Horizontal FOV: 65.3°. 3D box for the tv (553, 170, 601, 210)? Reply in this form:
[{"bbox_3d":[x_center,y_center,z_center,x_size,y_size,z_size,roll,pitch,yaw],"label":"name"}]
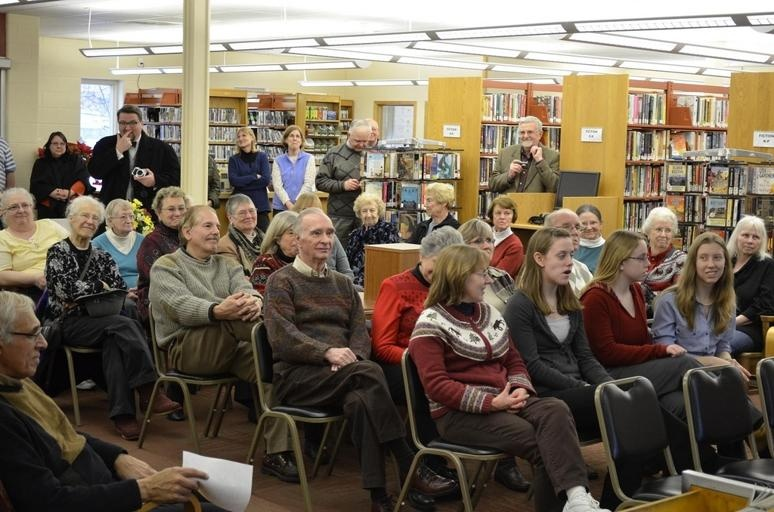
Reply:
[{"bbox_3d":[2.708,-1.006,8.570,0.710,0.698,0.546,3,0,-2],"label":"tv"}]

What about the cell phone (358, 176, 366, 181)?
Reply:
[{"bbox_3d":[-0.333,-1.049,8.162,0.080,0.078,0.018,-1,2,-38],"label":"cell phone"}]

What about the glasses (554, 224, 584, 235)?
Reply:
[{"bbox_3d":[1.421,-0.212,4.755,0.174,0.055,0.173,7,-6,-43],"label":"glasses"}]

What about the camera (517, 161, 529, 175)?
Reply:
[{"bbox_3d":[1.870,-1.213,8.316,0.125,0.181,0.070,1,3,-8],"label":"camera"}]

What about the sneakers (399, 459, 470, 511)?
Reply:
[{"bbox_3d":[0.179,1.326,3.515,0.542,0.239,0.201,-4,-2,23],"label":"sneakers"}]

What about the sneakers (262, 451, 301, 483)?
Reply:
[{"bbox_3d":[-0.679,1.351,3.937,0.309,0.225,0.123,1,1,31],"label":"sneakers"}]

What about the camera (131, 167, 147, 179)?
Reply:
[{"bbox_3d":[-2.684,-0.892,6.575,0.140,0.146,0.053,6,-7,17],"label":"camera"}]

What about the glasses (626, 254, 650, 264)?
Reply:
[{"bbox_3d":[1.668,0.016,4.006,0.196,0.043,0.061,-2,6,-37],"label":"glasses"}]

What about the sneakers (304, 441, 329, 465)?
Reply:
[{"bbox_3d":[-0.500,1.314,4.045,0.104,0.204,0.294,2,-13,-25],"label":"sneakers"}]

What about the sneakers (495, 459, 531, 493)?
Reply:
[{"bbox_3d":[0.784,1.403,3.846,0.109,0.185,0.276,0,-1,-37],"label":"sneakers"}]

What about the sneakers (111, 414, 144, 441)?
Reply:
[{"bbox_3d":[-1.909,1.262,4.449,0.127,0.141,0.340,-2,3,-40],"label":"sneakers"}]

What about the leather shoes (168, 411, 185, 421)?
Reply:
[{"bbox_3d":[-1.699,1.298,4.904,0.173,0.077,0.065,1,0,28],"label":"leather shoes"}]
